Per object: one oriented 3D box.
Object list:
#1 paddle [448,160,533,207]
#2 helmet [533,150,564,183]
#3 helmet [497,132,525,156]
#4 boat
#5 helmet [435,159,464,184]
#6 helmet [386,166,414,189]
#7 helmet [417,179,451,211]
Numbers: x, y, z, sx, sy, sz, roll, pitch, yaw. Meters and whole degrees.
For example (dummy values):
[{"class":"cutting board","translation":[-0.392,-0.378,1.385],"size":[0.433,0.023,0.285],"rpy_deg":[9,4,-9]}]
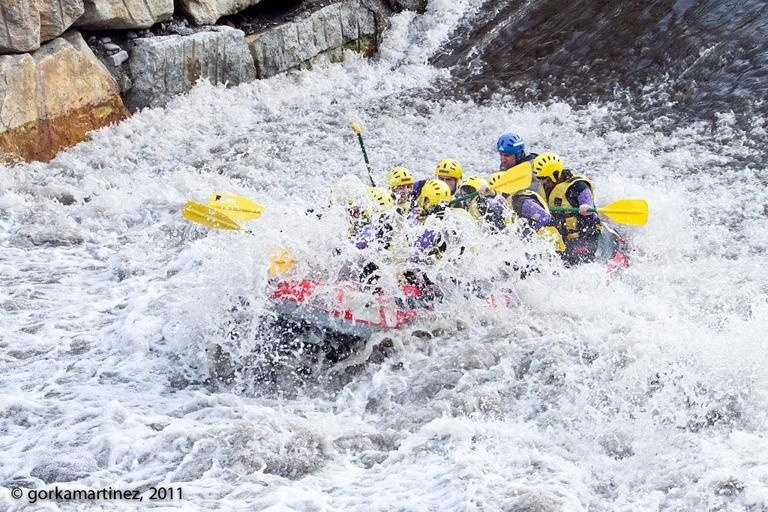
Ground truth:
[{"class":"paddle","translation":[1.717,-1.100,15.026],"size":[1.712,0.505,0.232],"rpy_deg":[-18,-9,36]},{"class":"helmet","translation":[2.505,-1.438,15.461],"size":[0.517,0.456,0.378],"rpy_deg":[8,27,-25]},{"class":"helmet","translation":[2.099,-1.862,16.103],"size":[0.348,0.398,0.384],"rpy_deg":[-7,17,35]},{"class":"boat","translation":[0.718,0.481,14.490],"size":[4.358,0.879,1.965],"rpy_deg":[-4,45,-5]},{"class":"helmet","translation":[1.022,-1.340,15.668],"size":[0.317,0.373,0.413],"rpy_deg":[0,-26,30]},{"class":"helmet","translation":[0.219,-1.227,15.131],"size":[0.381,0.342,0.215],"rpy_deg":[-15,-10,-9]},{"class":"helmet","translation":[0.737,-0.900,14.715],"size":[0.385,0.459,0.489],"rpy_deg":[2,21,-42]}]
